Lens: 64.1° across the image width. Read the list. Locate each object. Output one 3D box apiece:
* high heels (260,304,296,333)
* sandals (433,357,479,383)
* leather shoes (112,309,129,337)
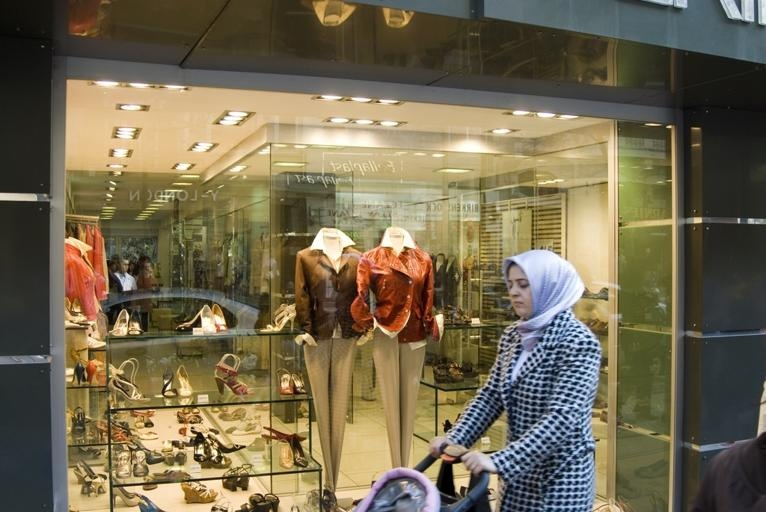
[{"bbox_3d":[-0.796,0.481,4.690,0.300,0.205,0.139,4,-3,-33],"label":"high heels"},{"bbox_3d":[0.593,0.962,5.237,0.302,0.109,0.192,0,2,-17],"label":"sandals"},{"bbox_3d":[-1.871,0.488,4.415,0.076,0.221,0.093,9,6,-12],"label":"leather shoes"}]
